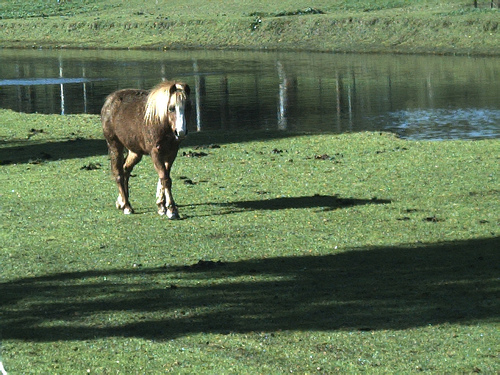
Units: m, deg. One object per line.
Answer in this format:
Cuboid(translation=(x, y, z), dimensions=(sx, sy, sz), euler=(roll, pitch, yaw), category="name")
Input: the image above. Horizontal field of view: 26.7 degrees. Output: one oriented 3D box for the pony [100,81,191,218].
Cuboid(translation=(-2.102, -1.076, 26.233), dimensions=(2.356, 3.351, 2.226), euler=(-7, 24, -27), category="pony")
